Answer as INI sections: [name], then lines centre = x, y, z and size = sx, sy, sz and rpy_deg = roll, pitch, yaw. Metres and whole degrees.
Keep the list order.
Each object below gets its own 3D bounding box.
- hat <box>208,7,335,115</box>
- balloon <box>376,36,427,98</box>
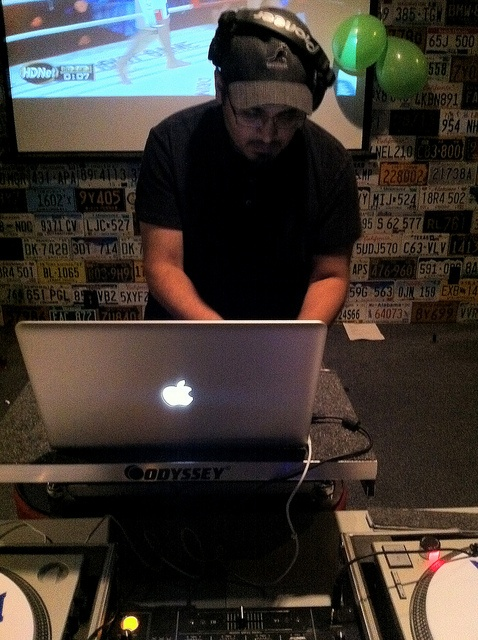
[hat]
centre = 0.077, -0.568, 1.163
size = 0.269, 0.197, 0.145
rpy_deg = 3, 32, 4
[balloon]
centre = 0.819, -1.285, 2.663
size = 0.200, 0.218, 0.273
rpy_deg = 9, 54, -3
